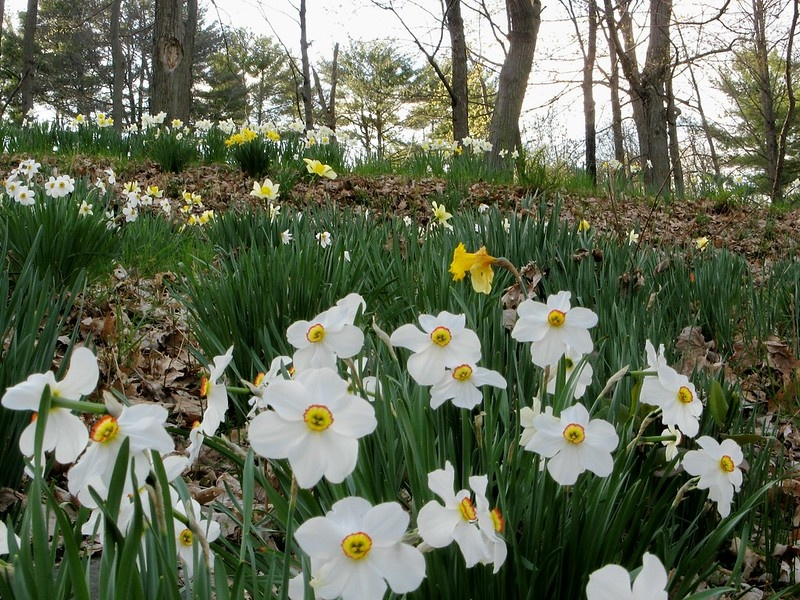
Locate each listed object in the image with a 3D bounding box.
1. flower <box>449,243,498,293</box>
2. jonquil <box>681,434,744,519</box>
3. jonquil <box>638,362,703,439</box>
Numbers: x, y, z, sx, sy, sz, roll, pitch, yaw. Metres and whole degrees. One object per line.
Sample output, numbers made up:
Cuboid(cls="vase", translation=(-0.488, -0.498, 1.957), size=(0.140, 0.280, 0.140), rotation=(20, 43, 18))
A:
Cuboid(cls="flower", translation=(0.219, -0.097, 1.807), size=(0.135, 0.122, 0.110), rotation=(-4, -9, -25))
Cuboid(cls="jonquil", translation=(0.768, 0.413, 1.595), size=(0.163, 0.235, 0.075), rotation=(8, -11, -27))
Cuboid(cls="jonquil", translation=(0.663, 0.254, 1.579), size=(0.185, 0.189, 0.095), rotation=(0, 2, -8))
